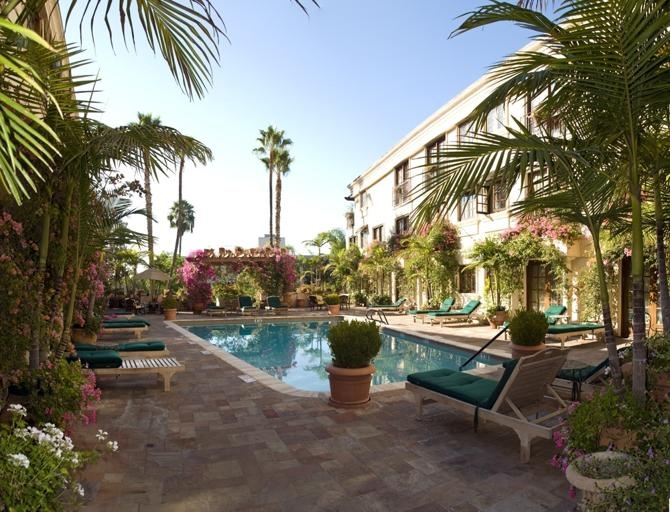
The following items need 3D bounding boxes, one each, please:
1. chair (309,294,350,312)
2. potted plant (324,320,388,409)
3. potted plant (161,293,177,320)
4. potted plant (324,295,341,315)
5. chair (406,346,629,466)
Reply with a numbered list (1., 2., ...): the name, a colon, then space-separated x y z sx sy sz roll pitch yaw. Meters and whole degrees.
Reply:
1. chair: -0.315 2.350 23.212 1.428 0.630 0.999 2 -7 -6
2. potted plant: 0.090 1.520 6.653 1.033 1.359 0.998 1 -6 -8
3. potted plant: -6.832 2.102 18.940 0.667 1.007 0.777 -5 -4 21
4. potted plant: -0.119 2.202 20.684 0.702 0.816 0.716 0 -9 -3
5. chair: 1.910 1.598 5.376 1.031 1.024 1.784 0 -1 -34
